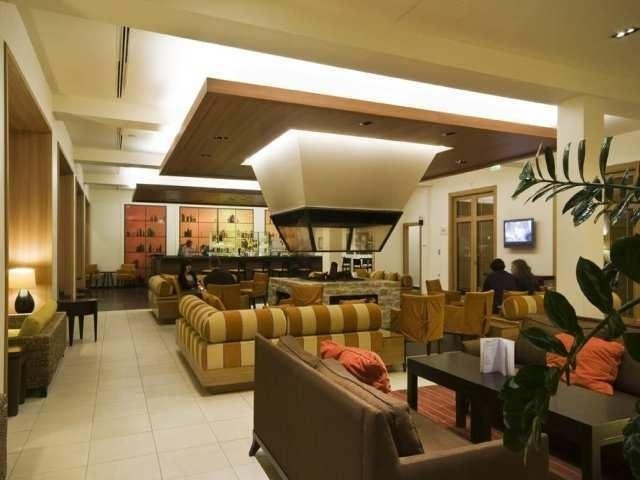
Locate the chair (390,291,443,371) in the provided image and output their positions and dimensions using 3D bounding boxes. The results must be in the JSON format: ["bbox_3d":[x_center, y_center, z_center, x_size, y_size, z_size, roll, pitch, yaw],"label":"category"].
[{"bbox_3d":[1.373,1.263,6.469,0.859,1.333,0.927,1,1,-3],"label":"chair"}]

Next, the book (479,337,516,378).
[{"bbox_3d":[1.585,1.026,4.017,0.317,0.335,0.279,2,-3,38],"label":"book"}]

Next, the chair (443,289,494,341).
[{"bbox_3d":[2.188,1.100,6.866,0.576,0.820,0.723,1,1,-25],"label":"chair"}]

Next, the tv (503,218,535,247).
[{"bbox_3d":[5.127,-0.205,11.459,0.225,0.588,0.666,3,-5,-21],"label":"tv"}]

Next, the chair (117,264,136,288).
[{"bbox_3d":[-7.033,1.302,16.372,0.729,1.111,0.845,1,-5,-12],"label":"chair"}]

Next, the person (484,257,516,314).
[{"bbox_3d":[3.096,0.957,7.818,0.455,1.390,0.427,-6,19,-2],"label":"person"}]

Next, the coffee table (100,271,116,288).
[{"bbox_3d":[-7.926,1.486,16.841,0.606,0.465,0.620,1,6,-26],"label":"coffee table"}]
